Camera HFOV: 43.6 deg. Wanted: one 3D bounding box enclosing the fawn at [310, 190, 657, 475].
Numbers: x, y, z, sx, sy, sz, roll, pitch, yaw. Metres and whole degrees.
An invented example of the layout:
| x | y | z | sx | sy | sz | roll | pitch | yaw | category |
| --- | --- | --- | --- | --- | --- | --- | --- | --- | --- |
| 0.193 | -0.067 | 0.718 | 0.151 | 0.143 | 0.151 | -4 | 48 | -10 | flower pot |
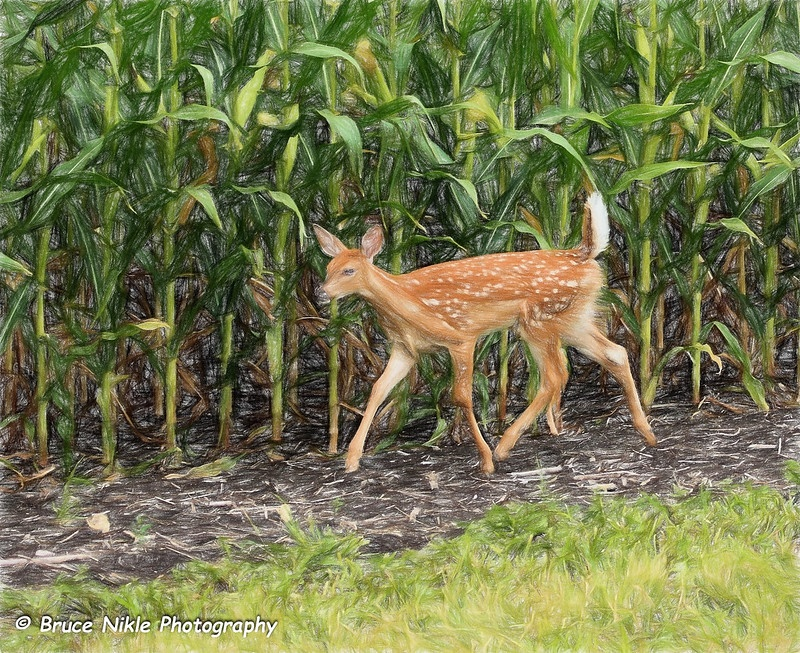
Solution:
| x | y | z | sx | sy | sz | roll | pitch | yaw | category |
| --- | --- | --- | --- | --- | --- | --- | --- | --- | --- |
| 0.287 | 0.028 | 3.173 | 1.110 | 0.911 | 0.217 | -1 | 15 | -15 | fawn |
